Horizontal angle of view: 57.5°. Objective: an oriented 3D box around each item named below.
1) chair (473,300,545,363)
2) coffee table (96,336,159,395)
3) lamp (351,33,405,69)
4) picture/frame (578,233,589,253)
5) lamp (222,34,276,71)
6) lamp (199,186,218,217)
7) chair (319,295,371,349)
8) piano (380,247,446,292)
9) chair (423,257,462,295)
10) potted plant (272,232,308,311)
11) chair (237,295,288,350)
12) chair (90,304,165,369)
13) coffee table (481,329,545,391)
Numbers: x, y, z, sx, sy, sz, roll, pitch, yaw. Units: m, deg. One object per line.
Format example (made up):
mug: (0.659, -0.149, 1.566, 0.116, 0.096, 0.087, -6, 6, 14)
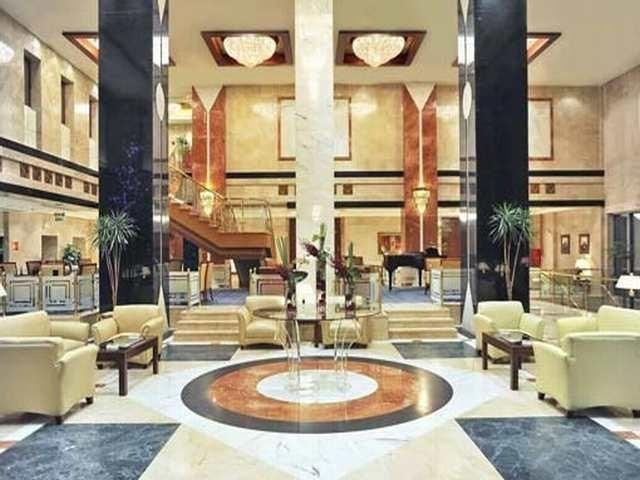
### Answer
chair: (3.298, 1.604, 10.279, 0.979, 0.984, 0.968, -2, 1, -1)
coffee table: (-3.105, 1.799, 9.356, 0.629, 0.629, 1.187, 0, 1, 1)
lamp: (1.512, -5.094, 15.407, 0.891, 0.459, 0.947, -4, -42, 11)
picture/frame: (8.680, 0.071, 19.218, 0.062, 0.867, 0.597, 0, 1, -16)
lamp: (-1.851, -5.035, 15.344, 1.261, 0.818, 0.351, 2, 13, 9)
lamp: (-2.966, -1.024, 15.595, 0.457, 0.695, 0.737, -3, 14, -9)
chair: (0.529, 1.681, 11.545, 1.072, 1.054, 1.105, -5, -8, 22)
piano: (2.558, 0.763, 15.865, 1.509, 1.002, 0.490, 1, 4, -9)
chair: (3.094, 1.028, 14.739, 0.731, 1.057, 1.390, 1, -3, 0)
potted plant: (-0.509, 0.516, 10.254, 0.545, 1.310, 1.367, -1, 14, -3)
chair: (-1.084, 1.635, 11.523, 1.180, 1.099, 1.210, 1, -2, -26)
chair: (-3.288, 1.743, 10.153, 1.034, 1.070, 1.074, -1, -4, 2)
coffee table: (3.125, 1.943, 9.430, 0.638, 0.569, 1.098, 1, -2, -3)
